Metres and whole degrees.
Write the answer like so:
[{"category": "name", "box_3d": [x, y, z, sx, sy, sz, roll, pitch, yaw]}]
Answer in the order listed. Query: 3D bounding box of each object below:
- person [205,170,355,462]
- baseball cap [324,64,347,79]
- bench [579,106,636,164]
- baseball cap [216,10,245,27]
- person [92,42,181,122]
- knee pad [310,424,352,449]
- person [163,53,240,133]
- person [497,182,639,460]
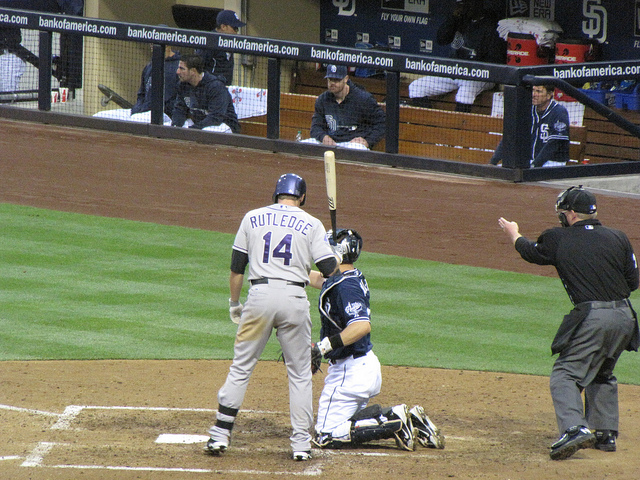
[{"category": "person", "box_3d": [-0.387, 0.733, 14.241, 0.981, 2.615, 0.768, 6, 11, 0]}, {"category": "baseball cap", "box_3d": [0.256, -2.318, 20.890, 0.252, 0.169, 0.253, 5, 10, -3]}, {"category": "bench", "box_3d": [3.833, -1.414, 20.667, 0.909, 0.712, 0.208, 8, 13, -24]}, {"category": "baseball cap", "box_3d": [-1.305, -3.326, 22.743, 0.366, 0.173, 0.233, -2, 26, -8]}, {"category": "person", "box_3d": [-2.728, -2.268, 22.653, 1.265, 1.119, 0.775, 6, 17, -11]}, {"category": "knee pad", "box_3d": [0.095, 1.877, 14.491, 0.461, 0.199, 0.203, 13, 12, 38]}, {"category": "person", "box_3d": [-1.686, -2.087, 22.247, 1.077, 1.261, 1.103, 2, 14, 17]}, {"category": "person", "box_3d": [2.385, 0.781, 14.301, 1.040, 2.458, 0.971, 11, 12, 24]}]
